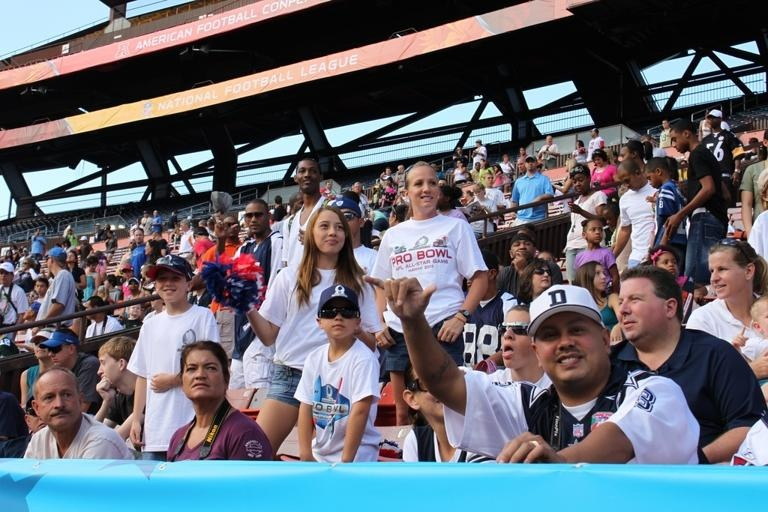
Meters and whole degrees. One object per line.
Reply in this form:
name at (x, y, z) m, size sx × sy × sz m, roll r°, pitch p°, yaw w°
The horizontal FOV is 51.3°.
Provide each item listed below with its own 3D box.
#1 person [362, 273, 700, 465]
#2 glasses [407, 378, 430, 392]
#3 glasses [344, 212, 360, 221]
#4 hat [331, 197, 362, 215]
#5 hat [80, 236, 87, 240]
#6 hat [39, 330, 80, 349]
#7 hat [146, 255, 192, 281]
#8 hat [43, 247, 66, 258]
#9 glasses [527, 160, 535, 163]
person at (0.968, 0.708, 4.965) m, size 1.696 × 1.286 × 0.906 m, roll -11°, pitch -1°, yaw 0°
glasses at (0.254, 0.977, 5.956) m, size 0.119 × 0.036 × 0.121 m, roll -5°, pitch -40°, yaw 48°
glasses at (-0.320, -0.411, 8.082) m, size 0.217 × 0.079 × 0.056 m, roll -10°, pitch -1°, yaw -44°
hat at (-0.379, -0.491, 8.061) m, size 0.253 × 0.095 × 0.174 m, roll 31°, pitch -10°, yaw -40°
hat at (-13.011, -0.776, 34.554) m, size 0.256 × 0.155 × 0.328 m, roll -1°, pitch -8°, yaw 0°
hat at (-3.742, 0.970, 9.275) m, size 0.201 × 0.155 × 0.322 m, roll -13°, pitch -16°, yaw 42°
hat at (-2.076, 0.130, 7.693) m, size 0.404 × 0.249 × 0.316 m, roll -11°, pitch -1°, yaw -18°
hat at (-7.372, -0.074, 17.864) m, size 0.557 × 0.288 × 0.384 m, roll -2°, pitch 5°, yaw 30°
glasses at (2.925, -1.892, 15.948) m, size 0.115 × 0.053 × 0.195 m, roll -1°, pitch -4°, yaw 20°
